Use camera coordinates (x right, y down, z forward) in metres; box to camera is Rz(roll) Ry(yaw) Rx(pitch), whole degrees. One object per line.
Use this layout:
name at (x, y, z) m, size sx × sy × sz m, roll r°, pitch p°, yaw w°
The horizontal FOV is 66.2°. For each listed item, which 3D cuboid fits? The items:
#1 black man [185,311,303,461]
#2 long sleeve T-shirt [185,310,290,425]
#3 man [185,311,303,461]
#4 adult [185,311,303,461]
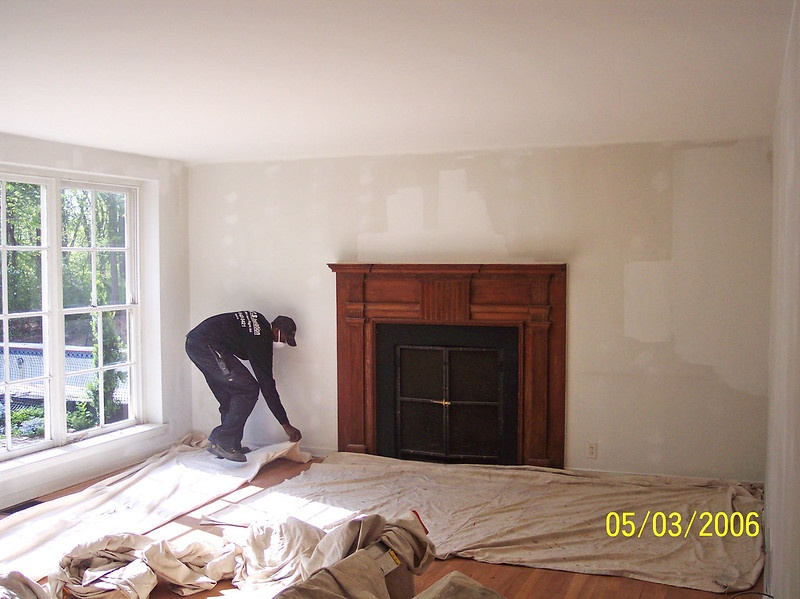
black man at (-1.308, 0.700, 5.342) m, size 0.988 × 1.236 × 0.892 m, roll 3°, pitch -4°, yaw 5°
long sleeve T-shirt at (-1.327, 0.565, 5.119) m, size 0.788 × 0.935 × 0.259 m, roll 1°, pitch 10°, yaw 10°
man at (-1.300, 0.701, 5.297) m, size 0.957 × 1.237 × 0.891 m, roll 3°, pitch -4°, yaw 15°
adult at (-1.349, 0.710, 5.350) m, size 0.993 × 1.225 × 0.816 m, roll 4°, pitch -5°, yaw -2°
